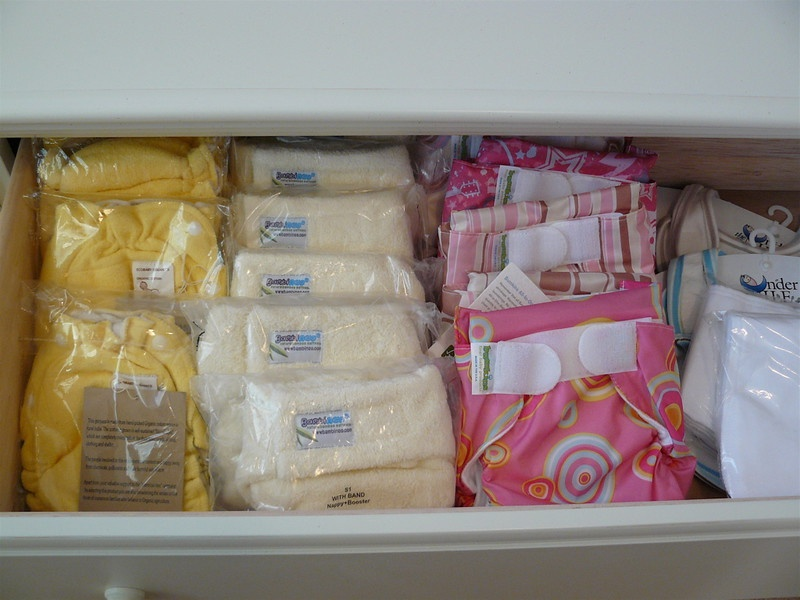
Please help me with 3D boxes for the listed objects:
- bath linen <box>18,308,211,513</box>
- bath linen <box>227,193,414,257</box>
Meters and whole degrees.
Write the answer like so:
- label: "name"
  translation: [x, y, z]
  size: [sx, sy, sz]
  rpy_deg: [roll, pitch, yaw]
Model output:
- label: "bath linen"
  translation: [-0.474, 0.150, 1.098]
  size: [0.276, 0.323, 0.092]
  rpy_deg: [-1, -5, -5]
- label: "bath linen"
  translation: [-0.127, -0.131, 1.161]
  size: [0.191, 0.154, 0.060]
  rpy_deg: [0, -5, -4]
